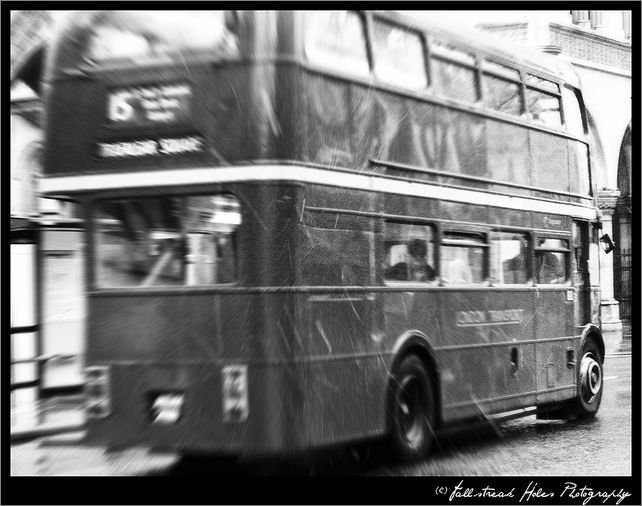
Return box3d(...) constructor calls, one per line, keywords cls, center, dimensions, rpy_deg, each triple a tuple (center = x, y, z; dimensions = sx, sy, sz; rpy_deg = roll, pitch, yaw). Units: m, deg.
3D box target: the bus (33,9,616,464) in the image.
box3d(cls="bus", center=(0.804, -0.164, 7.002), dimensions=(3.002, 3.990, 6.510), rpy_deg=(-1, -2, 43))
